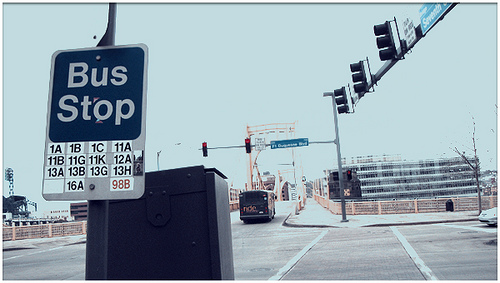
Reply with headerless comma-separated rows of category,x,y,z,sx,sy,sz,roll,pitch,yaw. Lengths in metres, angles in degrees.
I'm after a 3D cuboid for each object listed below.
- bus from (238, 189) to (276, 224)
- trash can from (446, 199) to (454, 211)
bus,0.549,5.302,32.953,2.767,2.802,3.188,-4,-3,-1
trash can,14.785,4.665,29.569,0.528,0.702,0.277,-5,-3,12
